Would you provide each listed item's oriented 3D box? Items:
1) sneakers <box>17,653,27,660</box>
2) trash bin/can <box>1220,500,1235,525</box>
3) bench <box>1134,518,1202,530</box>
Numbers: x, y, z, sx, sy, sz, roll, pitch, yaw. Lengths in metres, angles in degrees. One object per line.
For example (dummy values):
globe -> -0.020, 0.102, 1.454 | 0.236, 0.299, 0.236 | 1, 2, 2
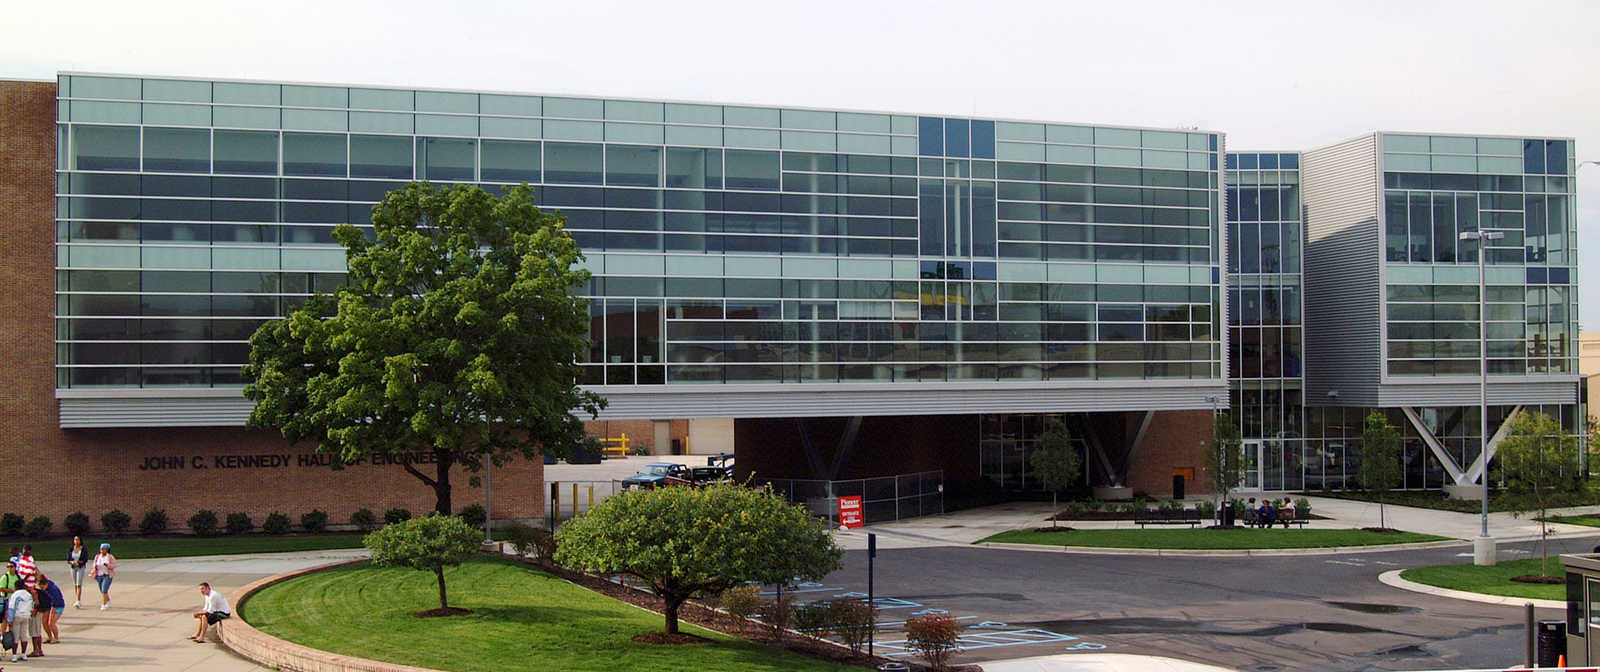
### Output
sneakers -> -46.778, 19.519, 96.239 | 0.693, 0.203, 0.270 | 2, 0, 34
trash bin/can -> 32.638, 13.734, 121.754 | 0.769, 1.649, 1.310 | -6, -5, 38
bench -> 27.991, 14.357, 121.568 | 4.711, 0.616, 2.621 | -2, -4, 0
